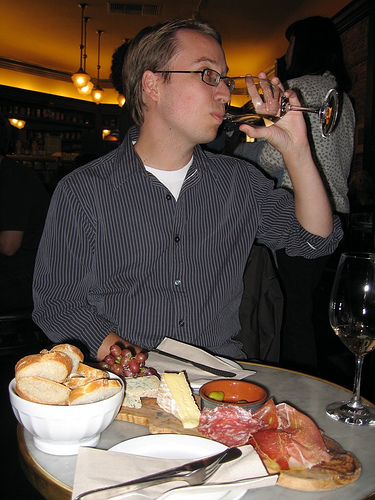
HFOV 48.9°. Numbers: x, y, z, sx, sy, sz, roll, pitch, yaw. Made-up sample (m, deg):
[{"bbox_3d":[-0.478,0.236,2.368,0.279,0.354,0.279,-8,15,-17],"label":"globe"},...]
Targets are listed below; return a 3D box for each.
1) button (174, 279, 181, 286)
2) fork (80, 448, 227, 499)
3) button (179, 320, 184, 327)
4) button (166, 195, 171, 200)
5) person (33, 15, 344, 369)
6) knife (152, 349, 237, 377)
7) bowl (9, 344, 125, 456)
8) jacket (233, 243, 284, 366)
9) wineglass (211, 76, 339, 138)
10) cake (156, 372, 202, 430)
[{"bbox_3d":[-0.035,0.102,1.298,0.024,0.021,0.005,1,0,-13],"label":"button"},{"bbox_3d":[-0.036,0.282,0.496,0.183,0.016,0.029,-1,7,-29],"label":"fork"},{"bbox_3d":[-0.020,0.229,1.288,0.018,0.015,0.017,1,-2,2],"label":"button"},{"bbox_3d":[-0.063,-0.170,1.334,0.015,0.014,0.006,1,6,-15],"label":"button"},{"bbox_3d":[-0.009,-0.222,1.380,0.942,1.154,0.570,0,7,-22],"label":"person"},{"bbox_3d":[0.006,0.257,0.936,0.216,0.009,0.034,10,-10,30],"label":"knife"},{"bbox_3d":[-0.205,0.241,0.660,0.170,0.109,0.169,6,2,0],"label":"bowl"},{"bbox_3d":[0.266,0.208,1.550,0.136,0.442,0.158,7,7,33],"label":"jacket"},{"bbox_3d":[0.257,-0.454,1.286,0.397,0.116,0.178,11,-11,4],"label":"wineglass"},{"bbox_3d":[-0.015,0.271,0.745,0.053,0.023,0.092,18,13,-24],"label":"cake"}]
